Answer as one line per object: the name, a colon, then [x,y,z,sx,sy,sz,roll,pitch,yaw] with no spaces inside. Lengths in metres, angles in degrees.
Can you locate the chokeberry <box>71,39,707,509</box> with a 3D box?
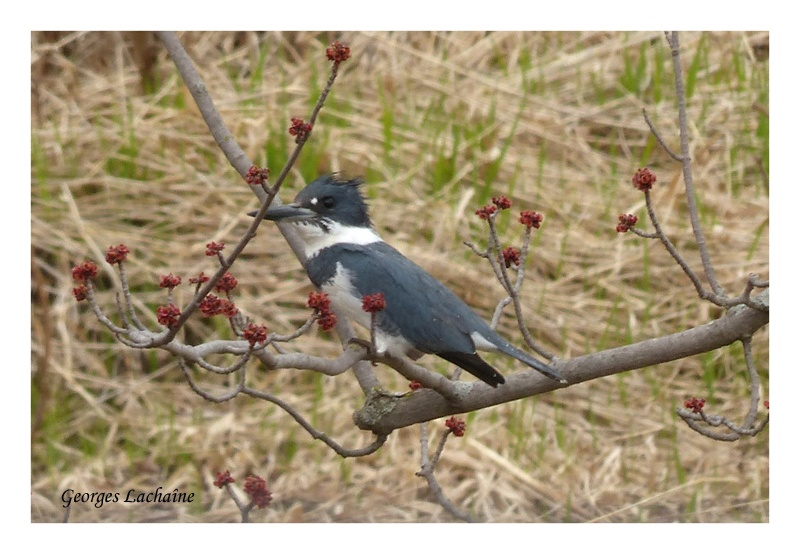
chokeberry: [0.308,0.020,6.663,3.049,3.397,2.431,-5,-82,25]
